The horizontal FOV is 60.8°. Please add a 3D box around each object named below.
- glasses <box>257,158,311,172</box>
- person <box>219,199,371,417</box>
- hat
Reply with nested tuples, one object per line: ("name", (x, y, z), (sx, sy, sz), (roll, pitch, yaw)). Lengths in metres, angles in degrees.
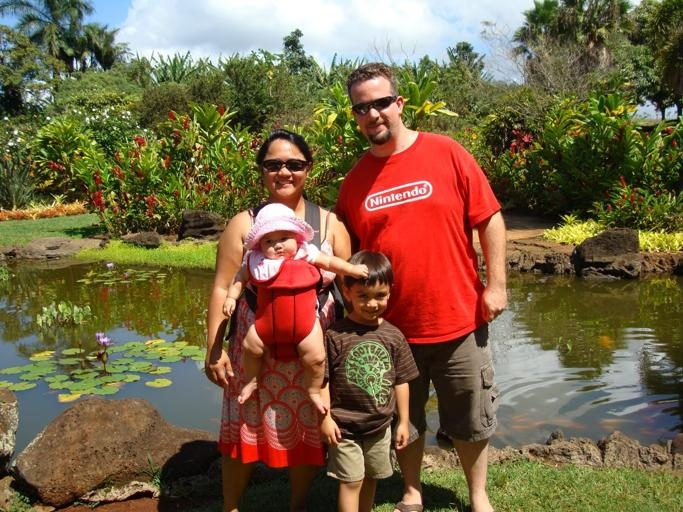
("glasses", (-0.371, -0.585, 3.813), (0.305, 0.085, 0.082), (-3, 14, -4))
("person", (-0.290, 0.331, 3.686), (0.716, 1.273, 0.396), (0, 15, 8))
("hat", (-0.398, -0.203, 3.741), (0.334, 0.163, 0.325), (-7, -12, 2))
